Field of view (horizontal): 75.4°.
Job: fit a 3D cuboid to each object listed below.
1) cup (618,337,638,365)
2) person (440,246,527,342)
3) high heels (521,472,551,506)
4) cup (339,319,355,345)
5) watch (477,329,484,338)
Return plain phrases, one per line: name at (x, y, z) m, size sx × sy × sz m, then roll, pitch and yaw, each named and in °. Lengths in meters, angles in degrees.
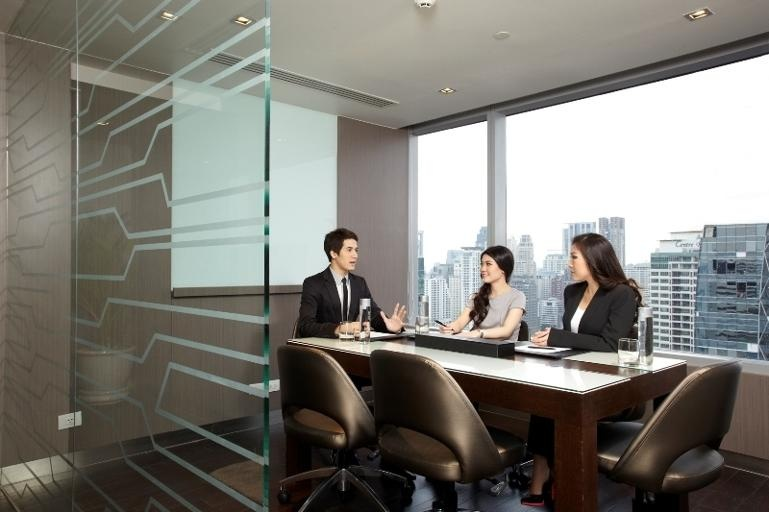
cup at (1.304, 0.507, 2.715) m, size 0.118 × 0.140 × 0.129 m, roll 0°, pitch 2°, yaw 0°
person at (0.872, 0.286, 4.199) m, size 0.721 × 0.907 × 0.707 m, roll 5°, pitch -3°, yaw -20°
high heels at (1.027, 1.571, 3.293) m, size 0.311 × 0.122 × 0.094 m, roll 7°, pitch -12°, yaw -23°
cup at (-0.262, 0.520, 3.464) m, size 0.117 × 0.124 × 0.115 m, roll -1°, pitch -3°, yaw 0°
watch at (0.730, 0.565, 3.701) m, size 0.043 × 0.064 × 0.066 m, roll 6°, pitch -4°, yaw -3°
